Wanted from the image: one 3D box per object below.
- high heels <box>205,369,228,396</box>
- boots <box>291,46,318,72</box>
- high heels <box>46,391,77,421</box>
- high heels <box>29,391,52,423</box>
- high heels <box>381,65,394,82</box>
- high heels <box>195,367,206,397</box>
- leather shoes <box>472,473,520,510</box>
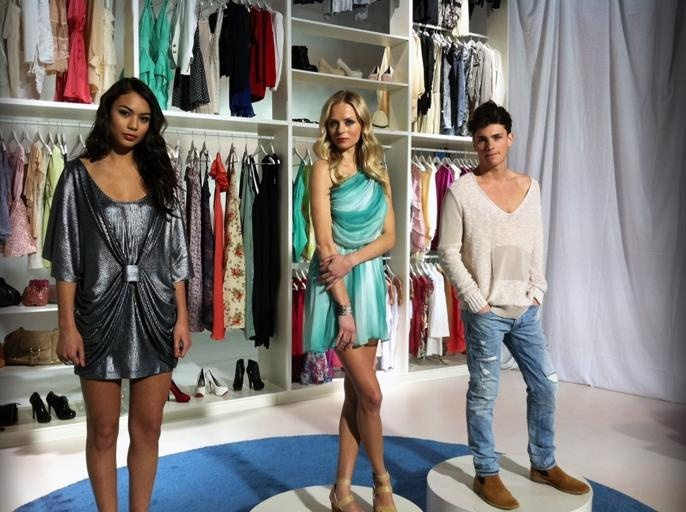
[{"bbox_3d":[-1.043,1.043,4.310,0.091,0.196,0.307,-1,6,-38],"label":"high heels"},{"bbox_3d":[-0.365,-1.755,4.647,0.182,0.239,0.340,-1,9,11],"label":"boots"},{"bbox_3d":[-2.053,1.079,3.839,0.327,0.185,0.120,13,6,44],"label":"high heels"},{"bbox_3d":[-2.195,1.075,3.758,0.099,0.148,0.306,1,14,-39],"label":"high heels"},{"bbox_3d":[0.413,-1.701,4.888,0.107,0.174,0.142,-5,5,-41],"label":"high heels"},{"bbox_3d":[-1.136,1.040,4.206,0.057,0.096,0.213,4,27,-5],"label":"high heels"},{"bbox_3d":[0.706,1.099,2.441,0.114,0.103,0.227,-9,11,-39],"label":"leather shoes"}]
